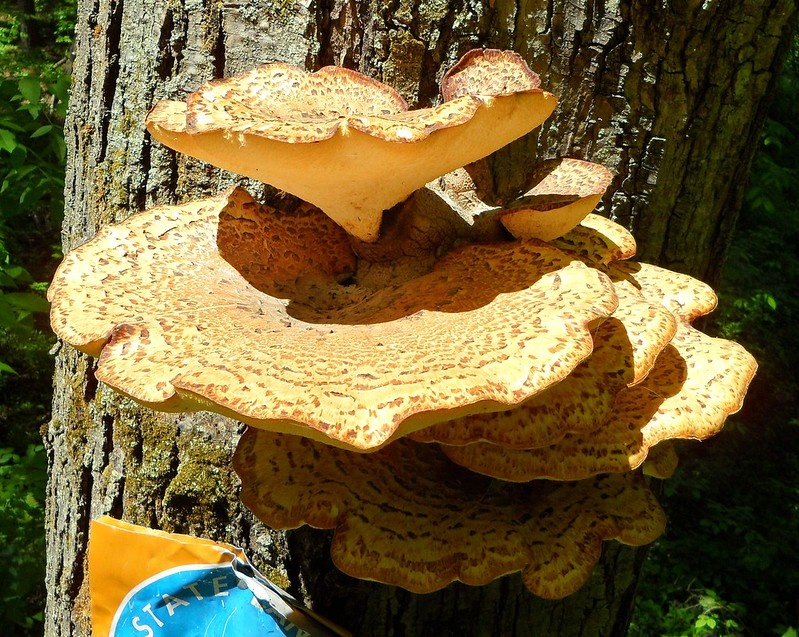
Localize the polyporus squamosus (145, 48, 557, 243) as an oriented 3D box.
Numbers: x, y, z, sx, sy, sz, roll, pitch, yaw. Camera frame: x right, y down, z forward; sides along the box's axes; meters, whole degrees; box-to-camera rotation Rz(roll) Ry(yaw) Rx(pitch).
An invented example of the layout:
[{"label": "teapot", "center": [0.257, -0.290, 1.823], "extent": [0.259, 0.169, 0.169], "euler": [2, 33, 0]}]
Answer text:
[{"label": "polyporus squamosus", "center": [-0.239, -0.771, 4.332], "extent": [1.418, 0.395, 1.084], "euler": [0, 6, -2]}]

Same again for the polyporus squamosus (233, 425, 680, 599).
[{"label": "polyporus squamosus", "center": [0.207, 0.876, 4.299], "extent": [1.610, 0.164, 0.916], "euler": [3, 24, -7]}]

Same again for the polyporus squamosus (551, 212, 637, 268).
[{"label": "polyporus squamosus", "center": [0.894, -0.313, 4.447], "extent": [0.338, 0.088, 0.308], "euler": [-27, 38, -20]}]

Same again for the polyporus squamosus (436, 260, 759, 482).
[{"label": "polyporus squamosus", "center": [1.192, 0.270, 4.473], "extent": [1.432, 0.178, 1.129], "euler": [-9, 29, 14]}]
